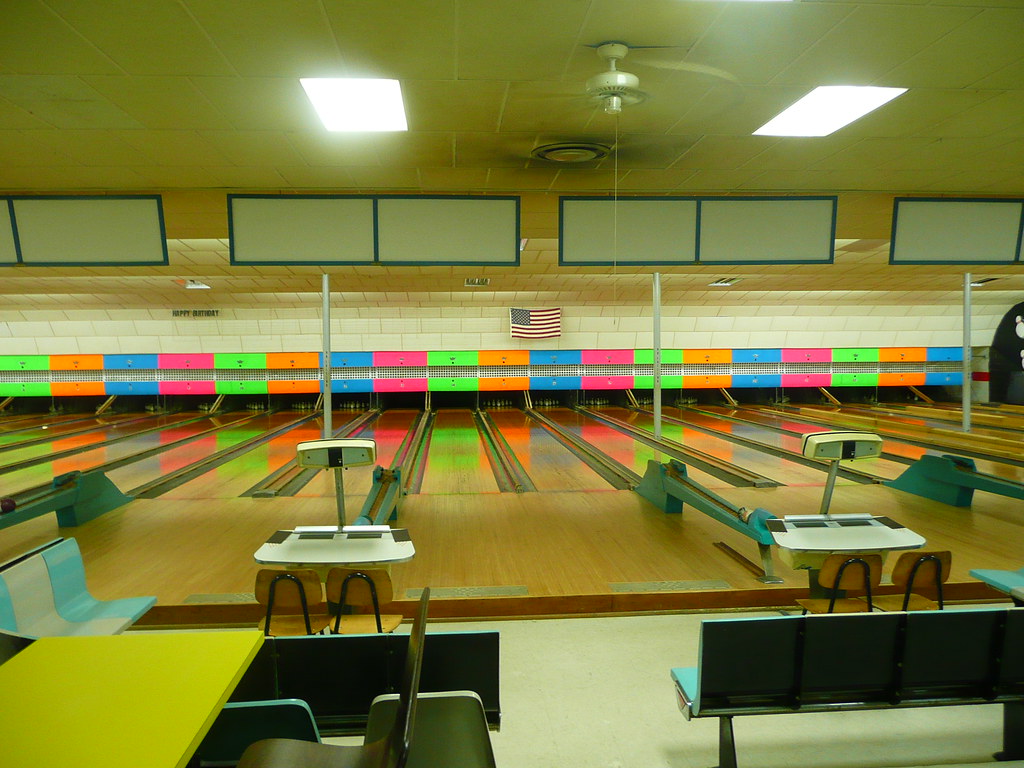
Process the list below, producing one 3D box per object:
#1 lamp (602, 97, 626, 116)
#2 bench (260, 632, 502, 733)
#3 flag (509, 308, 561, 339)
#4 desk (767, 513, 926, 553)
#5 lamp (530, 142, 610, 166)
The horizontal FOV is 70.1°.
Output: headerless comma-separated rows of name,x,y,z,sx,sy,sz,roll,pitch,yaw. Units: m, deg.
lamp,0.578,-1.602,4.188,0.141,0.075,0.120,1,-2,-1
bench,-0.664,1.423,3.512,1.069,0.343,0.211,-1,24,-1
flag,0.466,-1.261,14.689,0.784,0.422,0.031,0,6,-4
desk,2.197,0.992,4.931,0.942,0.162,0.580,0,7,3
lamp,0.433,-1.657,5.285,0.545,0.081,0.377,-1,7,0
